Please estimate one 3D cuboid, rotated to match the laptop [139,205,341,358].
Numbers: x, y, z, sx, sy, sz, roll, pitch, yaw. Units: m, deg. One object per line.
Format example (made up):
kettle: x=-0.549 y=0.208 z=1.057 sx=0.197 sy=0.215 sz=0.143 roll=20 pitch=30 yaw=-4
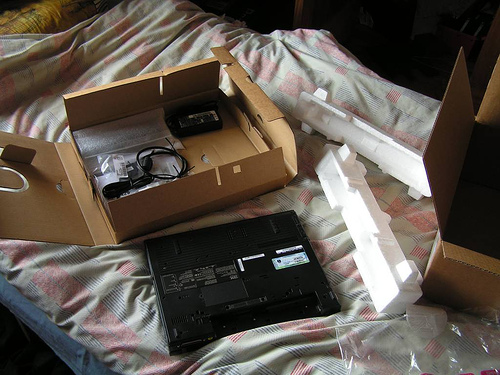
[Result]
laptop: x=-0.032 y=0.252 z=1.110 sx=0.506 sy=0.164 sz=0.363 roll=-20 pitch=42 yaw=-11
